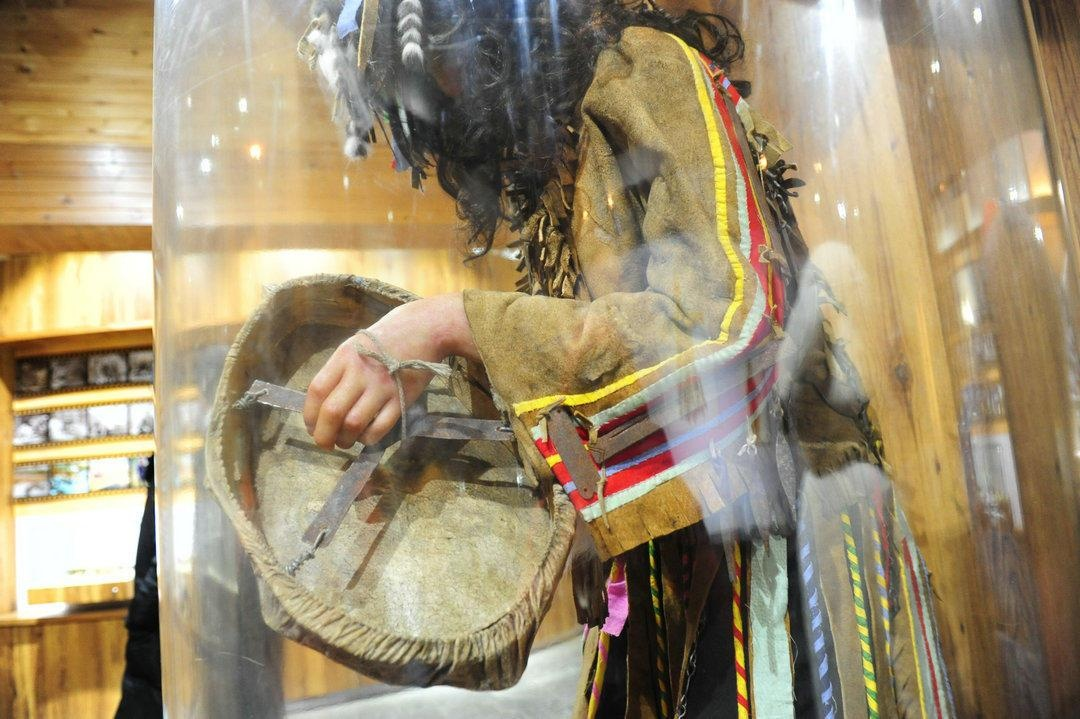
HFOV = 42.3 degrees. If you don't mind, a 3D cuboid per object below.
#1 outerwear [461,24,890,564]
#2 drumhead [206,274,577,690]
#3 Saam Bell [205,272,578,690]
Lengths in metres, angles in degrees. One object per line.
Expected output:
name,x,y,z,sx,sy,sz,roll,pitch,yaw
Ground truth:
outerwear,0.250,-0.064,2.747,0.697,0.404,0.935,-22,91,6
drumhead,-0.272,0.222,2.492,0.678,0.259,0.879,-12,51,-8
Saam Bell,-0.246,0.177,2.521,0.668,0.258,0.868,-12,52,-12
